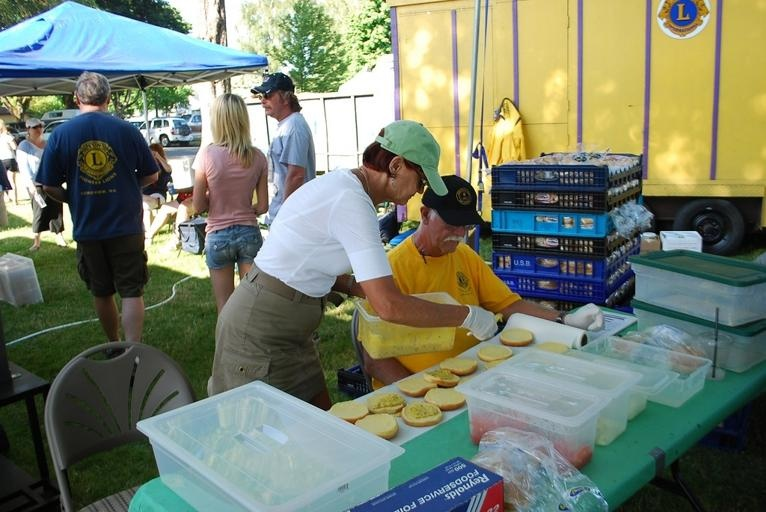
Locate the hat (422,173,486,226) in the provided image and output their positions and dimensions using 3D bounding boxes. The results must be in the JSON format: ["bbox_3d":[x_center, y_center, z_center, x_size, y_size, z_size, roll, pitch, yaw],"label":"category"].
[{"bbox_3d":[0.459,-0.340,3.448,0.378,0.226,0.281,33,30,32],"label":"hat"}]

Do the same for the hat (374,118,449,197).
[{"bbox_3d":[0.144,-0.523,2.959,0.369,0.407,0.210,-2,16,-2],"label":"hat"}]

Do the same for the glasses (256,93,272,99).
[{"bbox_3d":[-1.147,-1.544,5.278,0.101,0.052,0.170,21,28,38],"label":"glasses"}]

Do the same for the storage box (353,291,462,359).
[{"bbox_3d":[0.167,0.439,3.314,0.550,0.245,0.369,-5,12,-28],"label":"storage box"}]

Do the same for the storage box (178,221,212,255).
[{"bbox_3d":[-2.763,-0.285,8.001,0.364,0.386,0.506,0,8,8],"label":"storage box"}]

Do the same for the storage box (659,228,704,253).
[{"bbox_3d":[2.981,-0.154,5.460,0.271,0.185,0.288,0,10,6],"label":"storage box"}]

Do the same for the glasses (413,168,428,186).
[{"bbox_3d":[0.197,-0.434,2.946,0.096,0.044,0.058,-13,36,-42],"label":"glasses"}]

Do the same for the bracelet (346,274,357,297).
[{"bbox_3d":[-0.197,0.193,3.458,0.040,0.113,0.076,1,2,-43],"label":"bracelet"}]

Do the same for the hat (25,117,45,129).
[{"bbox_3d":[-6.684,-2.524,10.385,0.401,0.155,0.293,3,11,44],"label":"hat"}]

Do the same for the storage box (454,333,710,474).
[{"bbox_3d":[0.937,0.611,2.570,0.803,0.222,0.583,-14,16,-42],"label":"storage box"}]

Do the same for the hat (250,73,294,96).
[{"bbox_3d":[-1.058,-1.658,5.258,0.341,0.190,0.220,-3,20,-27],"label":"hat"}]

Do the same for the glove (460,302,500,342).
[{"bbox_3d":[0.584,0.406,3.251,0.131,0.187,0.254,5,1,-22],"label":"glove"}]

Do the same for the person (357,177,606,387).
[{"bbox_3d":[0.720,0.161,3.647,1.116,1.754,0.798,15,34,36],"label":"person"}]

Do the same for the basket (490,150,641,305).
[{"bbox_3d":[1.565,-0.203,4.893,0.985,1.182,1.645,4,11,33],"label":"basket"}]

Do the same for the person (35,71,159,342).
[{"bbox_3d":[-2.622,-0.351,5.245,0.967,2.680,0.820,-2,9,-4],"label":"person"}]

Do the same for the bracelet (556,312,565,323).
[{"bbox_3d":[1.133,0.399,3.497,0.049,0.052,0.051,-6,12,-10],"label":"bracelet"}]
